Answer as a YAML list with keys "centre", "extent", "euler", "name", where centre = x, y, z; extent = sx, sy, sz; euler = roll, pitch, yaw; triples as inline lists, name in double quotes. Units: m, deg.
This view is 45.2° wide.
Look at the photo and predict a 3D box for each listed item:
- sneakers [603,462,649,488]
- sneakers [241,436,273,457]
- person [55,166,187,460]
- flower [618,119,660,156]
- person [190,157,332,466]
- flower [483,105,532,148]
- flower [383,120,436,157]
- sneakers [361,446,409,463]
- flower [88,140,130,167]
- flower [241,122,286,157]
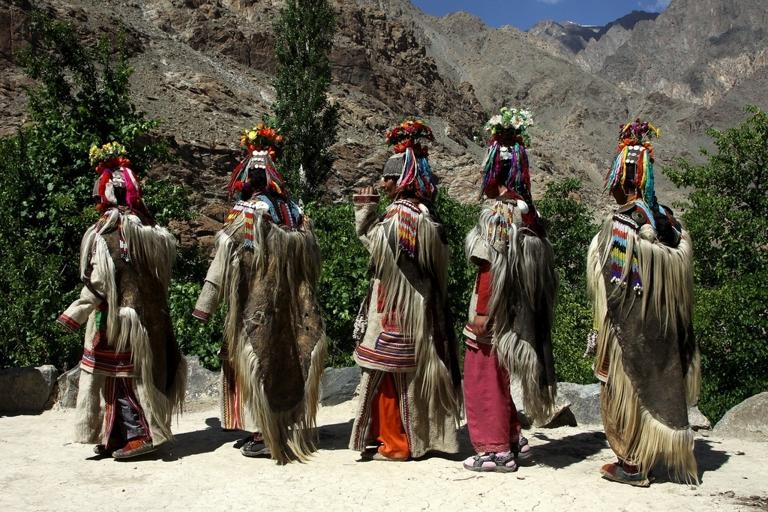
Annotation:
- centre: [3.121, 2.880, 12.166]
  extent: [0.649, 0.296, 0.244]
  euler: [15, -8, 23]
  name: "sneakers"
- centre: [-1.788, 2.637, 12.654]
  extent: [0.433, 0.203, 0.203]
  euler: [7, -17, 8]
  name: "sneakers"
- centre: [-3.607, 0.755, 12.836]
  extent: [1.431, 4.085, 0.408]
  euler: [-1, -3, -9]
  name: "person"
- centre: [3.450, -1.671, 12.565]
  extent: [0.528, 0.513, 0.596]
  euler: [7, -3, 10]
  name: "flower"
- centre: [-1.617, 0.706, 12.700]
  extent: [1.544, 4.282, 0.400]
  euler: [-2, -3, -2]
  name: "person"
- centre: [1.716, -1.792, 12.808]
  extent: [0.576, 0.418, 0.575]
  euler: [8, 14, 1]
  name: "flower"
- centre: [0.322, -1.593, 12.877]
  extent: [0.538, 0.483, 0.555]
  euler: [20, 28, 37]
  name: "flower"
- centre: [0.018, 2.711, 12.647]
  extent: [0.685, 0.295, 0.238]
  euler: [-3, -5, 11]
  name: "sneakers"
- centre: [-3.841, -1.435, 12.984]
  extent: [0.517, 0.309, 0.532]
  euler: [-7, 2, 38]
  name: "flower"
- centre: [-1.741, -1.617, 12.945]
  extent: [0.556, 0.507, 0.351]
  euler: [-1, -4, -14]
  name: "flower"
